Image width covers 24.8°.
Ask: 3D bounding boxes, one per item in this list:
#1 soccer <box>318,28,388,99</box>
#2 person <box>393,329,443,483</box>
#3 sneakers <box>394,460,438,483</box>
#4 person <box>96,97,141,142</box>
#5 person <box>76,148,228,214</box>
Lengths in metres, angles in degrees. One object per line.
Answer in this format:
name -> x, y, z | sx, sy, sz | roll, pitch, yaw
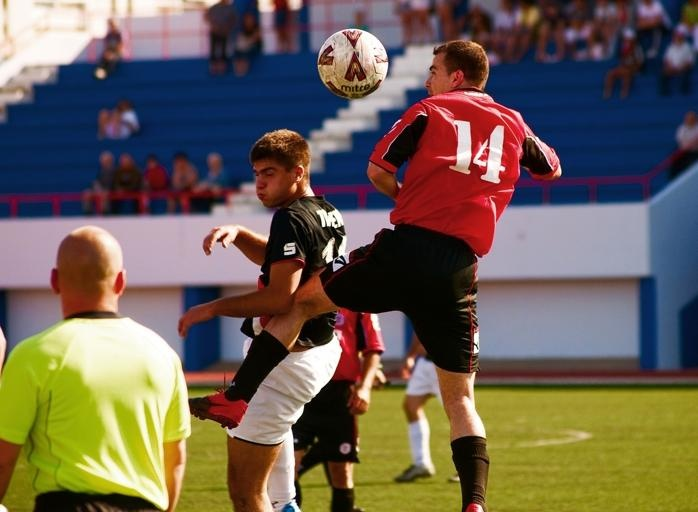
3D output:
soccer -> 0.088, -2.653, 21.463 | 0.839, 0.944, 0.947 | 7, 14, 19
person -> 1.101, 2.180, 23.173 | 0.782, 1.983, 0.824 | 1, 10, -3
sneakers -> 0.946, 3.144, 22.969 | 0.629, 0.269, 0.223 | -3, -6, -12
person -> -5.093, -3.001, 35.005 | 0.947, 0.847, 0.435 | 1, 4, 5
person -> -3.970, -1.510, 32.201 | 2.581, 1.050, 1.352 | -2, 2, -12
